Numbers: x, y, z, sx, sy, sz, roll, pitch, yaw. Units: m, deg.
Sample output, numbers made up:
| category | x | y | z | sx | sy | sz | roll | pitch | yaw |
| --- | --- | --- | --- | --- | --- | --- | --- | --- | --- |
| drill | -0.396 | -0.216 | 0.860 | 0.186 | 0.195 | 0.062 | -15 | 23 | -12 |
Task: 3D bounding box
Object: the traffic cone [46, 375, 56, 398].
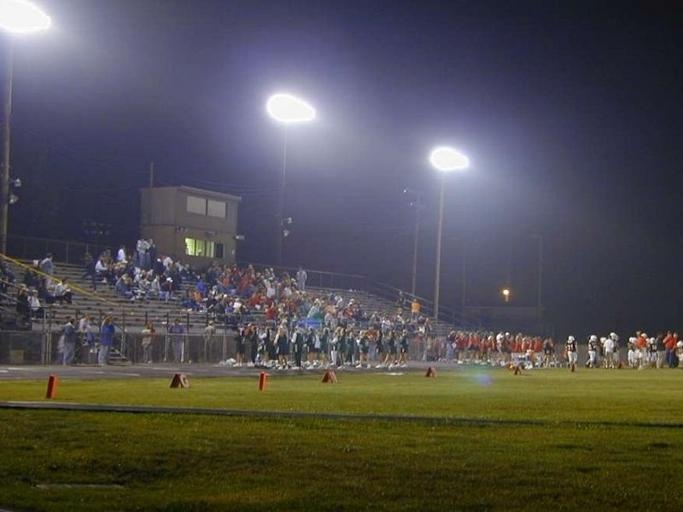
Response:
| category | x | y | z | sx | sy | sz | roll | pitch | yaw |
| --- | --- | --- | --- | --- | --- | --- | --- | --- | --- |
| traffic cone | -7.157 | 3.222 | 22.257 | 0.210 | 0.615 | 0.154 | 20 | -53 | -17 |
